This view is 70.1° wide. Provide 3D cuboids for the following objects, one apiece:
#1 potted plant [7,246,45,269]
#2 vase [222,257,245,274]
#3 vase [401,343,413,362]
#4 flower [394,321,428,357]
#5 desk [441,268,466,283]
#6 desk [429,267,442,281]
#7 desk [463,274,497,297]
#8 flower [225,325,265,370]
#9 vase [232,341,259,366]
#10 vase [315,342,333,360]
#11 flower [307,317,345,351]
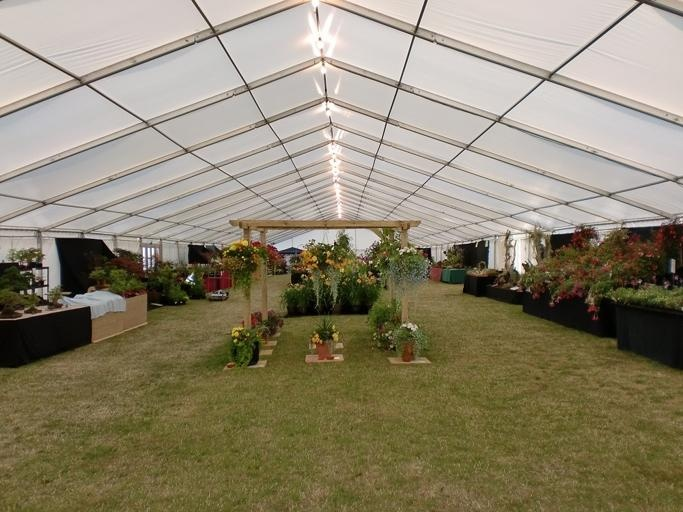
[{"bbox_3d":[-8.203,0.040,12.595,0.594,0.399,0.580,1,-6,-30],"label":"potted plant"},{"bbox_3d":[-2.201,0.169,9.797,0.322,0.204,0.315,3,4,27],"label":"vase"},{"bbox_3d":[1.327,1.924,9.760,0.238,0.367,0.123,-1,-2,3],"label":"vase"},{"bbox_3d":[1.400,1.718,9.993,0.639,0.702,0.540,-2,-2,10],"label":"flower"},{"bbox_3d":[6.350,1.083,27.667,0.872,0.527,0.863,-1,4,-22],"label":"desk"},{"bbox_3d":[5.840,1.098,30.120,0.895,0.666,0.881,-2,3,-1],"label":"desk"},{"bbox_3d":[5.721,1.211,20.635,0.929,0.560,0.916,-1,2,-22],"label":"desk"},{"bbox_3d":[-2.083,1.771,9.795,0.518,0.743,0.681,-3,-11,42],"label":"flower"},{"bbox_3d":[-1.862,1.906,9.525,0.471,0.313,0.462,1,-5,-17],"label":"vase"},{"bbox_3d":[-0.353,1.926,9.867,0.358,0.273,0.352,0,-5,-1],"label":"vase"},{"bbox_3d":[-0.371,1.597,10.076,0.580,0.584,0.578,5,-5,-10],"label":"flower"}]
